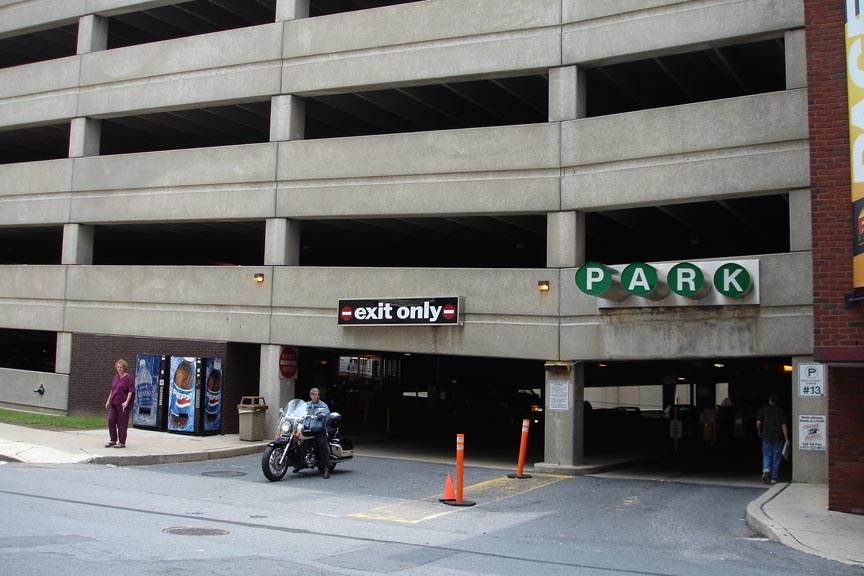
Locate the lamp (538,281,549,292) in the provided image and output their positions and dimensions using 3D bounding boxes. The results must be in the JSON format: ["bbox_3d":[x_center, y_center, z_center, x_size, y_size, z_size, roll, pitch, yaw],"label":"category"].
[{"bbox_3d":[3.607,-0.094,31.011,0.298,0.302,0.165,-2,-11,34],"label":"lamp"}]

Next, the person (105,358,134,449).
[{"bbox_3d":[-9.625,3.533,29.525,0.696,2.698,1.397,2,-10,-18],"label":"person"}]

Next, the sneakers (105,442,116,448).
[{"bbox_3d":[-9.884,4.775,29.378,0.324,0.145,0.144,0,-7,30],"label":"sneakers"}]

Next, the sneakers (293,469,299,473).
[{"bbox_3d":[-3.970,5.281,27.855,0.184,0.133,0.098,-3,0,34],"label":"sneakers"}]

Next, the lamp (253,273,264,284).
[{"bbox_3d":[-6.229,-0.385,34.458,0.416,0.358,0.163,-6,-10,26],"label":"lamp"}]
